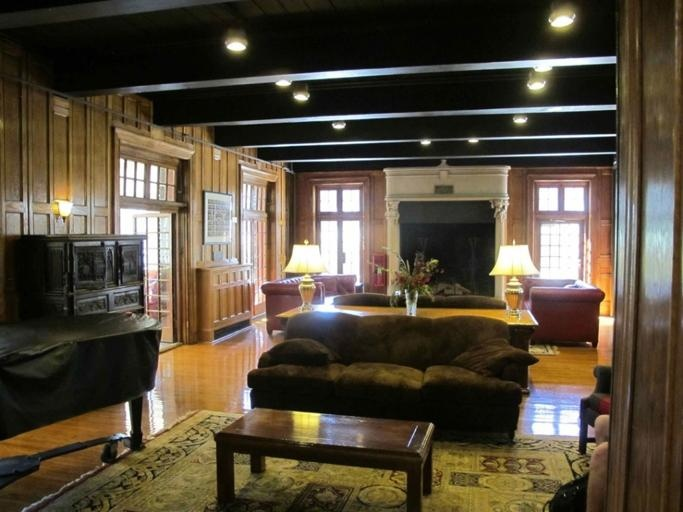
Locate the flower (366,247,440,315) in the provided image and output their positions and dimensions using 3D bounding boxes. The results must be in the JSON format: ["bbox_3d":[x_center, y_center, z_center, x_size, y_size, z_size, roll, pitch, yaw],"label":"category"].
[{"bbox_3d":[0.920,0.328,8.390,0.907,0.976,0.897,1,-2,-13],"label":"flower"}]

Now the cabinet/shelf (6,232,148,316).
[{"bbox_3d":[-2.528,0.174,5.439,0.368,0.791,0.866,0,0,21],"label":"cabinet/shelf"}]

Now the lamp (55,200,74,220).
[{"bbox_3d":[-2.704,-0.450,5.702,0.188,0.182,0.162,1,3,-21],"label":"lamp"}]

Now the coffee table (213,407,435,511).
[{"bbox_3d":[-0.090,1.310,3.674,1.282,0.461,0.581,1,4,17],"label":"coffee table"}]

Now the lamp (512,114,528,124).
[{"bbox_3d":[2.185,-1.677,7.097,0.194,0.104,0.194,1,-1,20],"label":"lamp"}]

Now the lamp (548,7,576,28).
[{"bbox_3d":[1.571,-1.712,4.186,0.168,0.054,0.165,-1,-5,-22],"label":"lamp"}]
